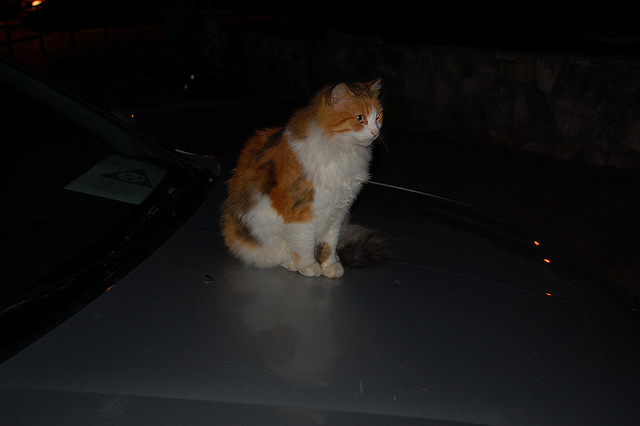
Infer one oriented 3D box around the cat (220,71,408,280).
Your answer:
[{"bbox_3d":[0.065,-0.206,2.410,0.858,1.023,0.823,7,10,29],"label":"cat"}]
